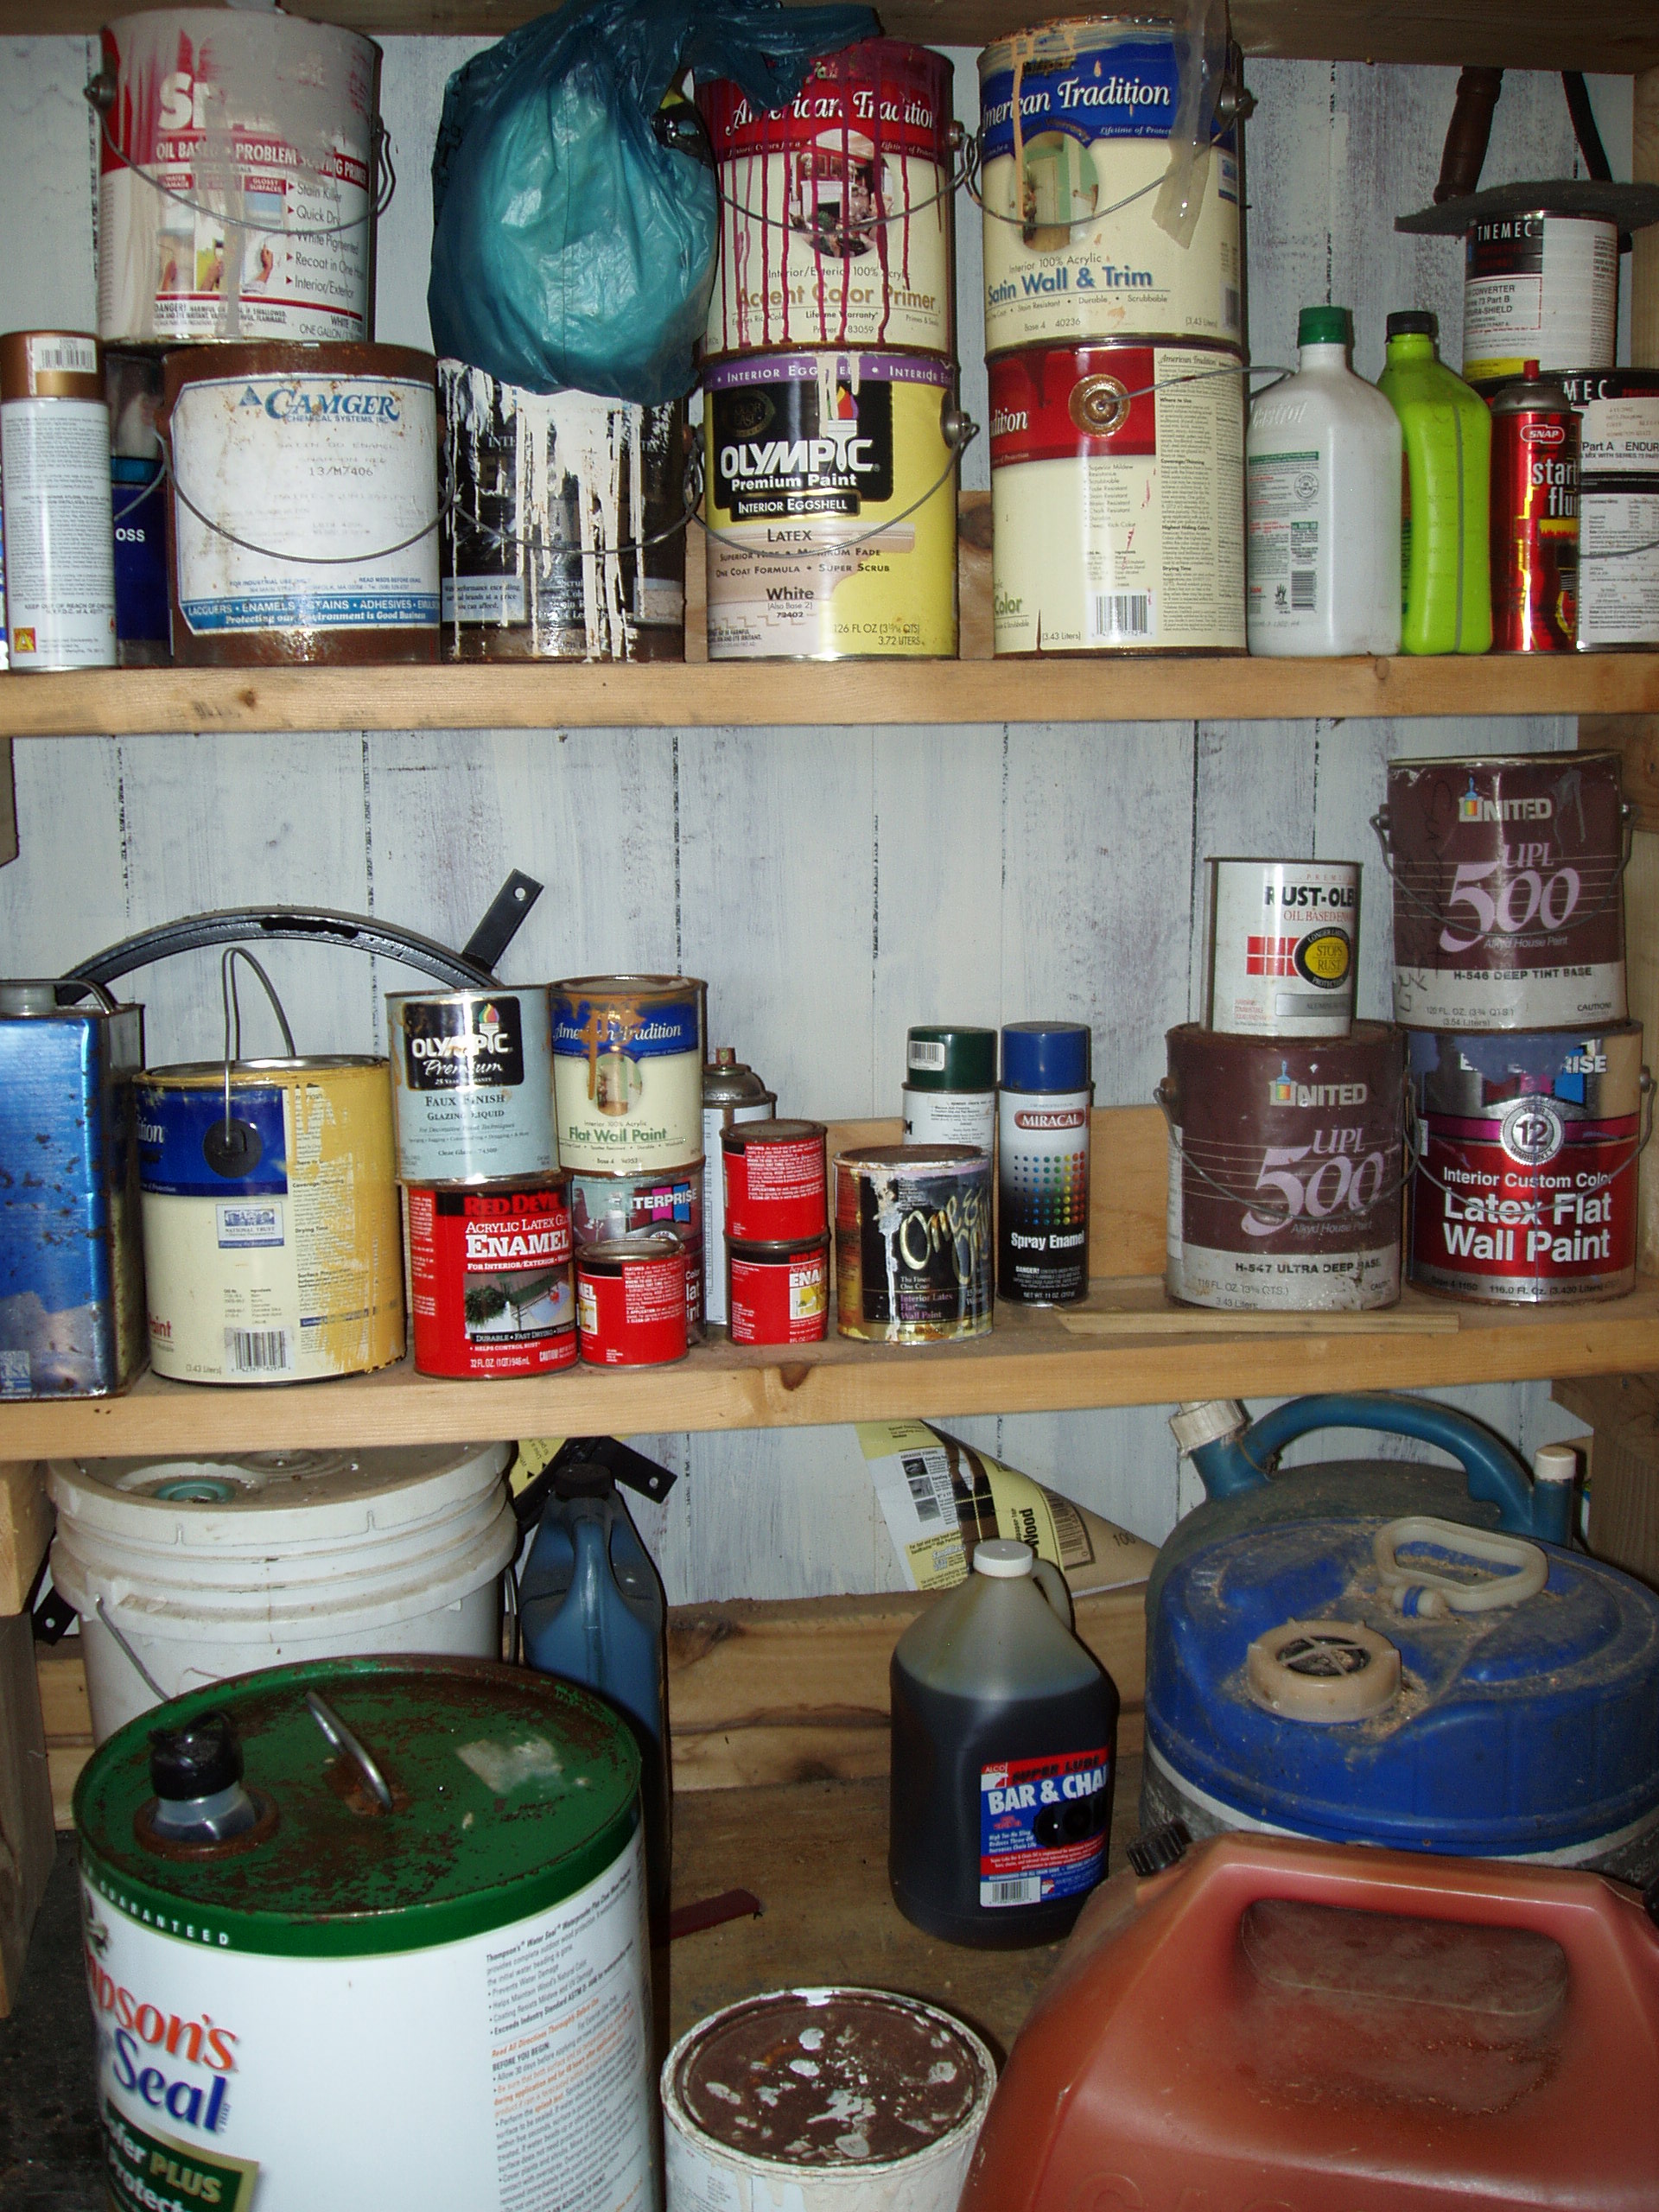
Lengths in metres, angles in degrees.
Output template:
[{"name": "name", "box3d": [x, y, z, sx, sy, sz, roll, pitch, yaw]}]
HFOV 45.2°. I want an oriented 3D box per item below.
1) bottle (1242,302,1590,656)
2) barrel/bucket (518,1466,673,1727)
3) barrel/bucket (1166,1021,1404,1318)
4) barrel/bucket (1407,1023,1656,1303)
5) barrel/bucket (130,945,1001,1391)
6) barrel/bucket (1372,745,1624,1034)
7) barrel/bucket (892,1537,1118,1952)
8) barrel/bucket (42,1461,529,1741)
[{"name": "bottle", "box3d": [0.341, -0.384, 1.226, 0.159, 0.223, 0.101, -11, 10, -41]}, {"name": "barrel/bucket", "box3d": [-0.152, 0.322, 1.340, 0.110, 0.168, 0.178, -1, 9, -8]}, {"name": "barrel/bucket", "box3d": [0.286, 0.033, 1.365, 0.184, 0.182, 0.193, 0, 5, 0]}, {"name": "barrel/bucket", "box3d": [0.453, 0.033, 1.403, 0.185, 0.181, 0.177, -2, 6, 0]}, {"name": "barrel/bucket", "box3d": [-0.228, 0.036, 1.236, 0.361, 0.282, 0.194, -2, 7, -14]}, {"name": "barrel/bucket", "box3d": [0.475, -0.154, 1.401, 0.203, 0.180, 0.174, -6, 9, -38]}, {"name": "barrel/bucket", "box3d": [0.104, 0.409, 1.257, 0.136, 0.225, 0.083, 1, 10, 36]}, {"name": "barrel/bucket", "box3d": [-0.319, 0.266, 1.199, 0.208, 0.186, 0.212, 2, 7, 0]}]
